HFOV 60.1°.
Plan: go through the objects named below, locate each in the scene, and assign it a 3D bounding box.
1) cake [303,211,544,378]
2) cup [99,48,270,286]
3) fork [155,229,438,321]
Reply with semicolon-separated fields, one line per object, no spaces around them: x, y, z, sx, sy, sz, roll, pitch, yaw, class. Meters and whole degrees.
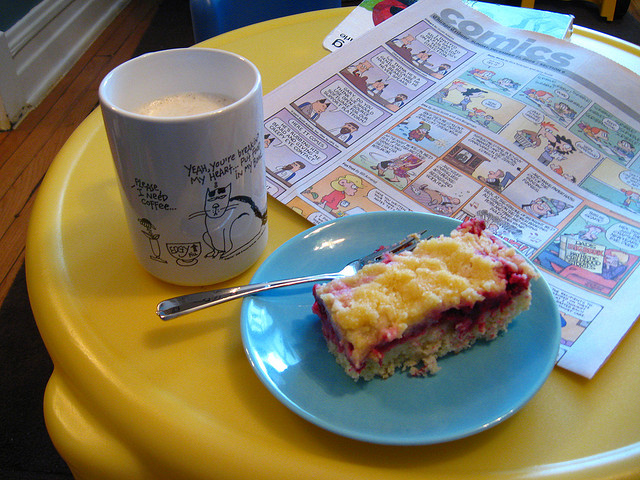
0.112;0.079;0.609;0.227;0.083;0.137;-19;46;-7;cake
-0.137;-0.100;0.668;0.161;0.215;0.252;6;37;5;cup
-0.033;0.043;0.603;0.269;0.029;0.036;-12;49;-13;fork
